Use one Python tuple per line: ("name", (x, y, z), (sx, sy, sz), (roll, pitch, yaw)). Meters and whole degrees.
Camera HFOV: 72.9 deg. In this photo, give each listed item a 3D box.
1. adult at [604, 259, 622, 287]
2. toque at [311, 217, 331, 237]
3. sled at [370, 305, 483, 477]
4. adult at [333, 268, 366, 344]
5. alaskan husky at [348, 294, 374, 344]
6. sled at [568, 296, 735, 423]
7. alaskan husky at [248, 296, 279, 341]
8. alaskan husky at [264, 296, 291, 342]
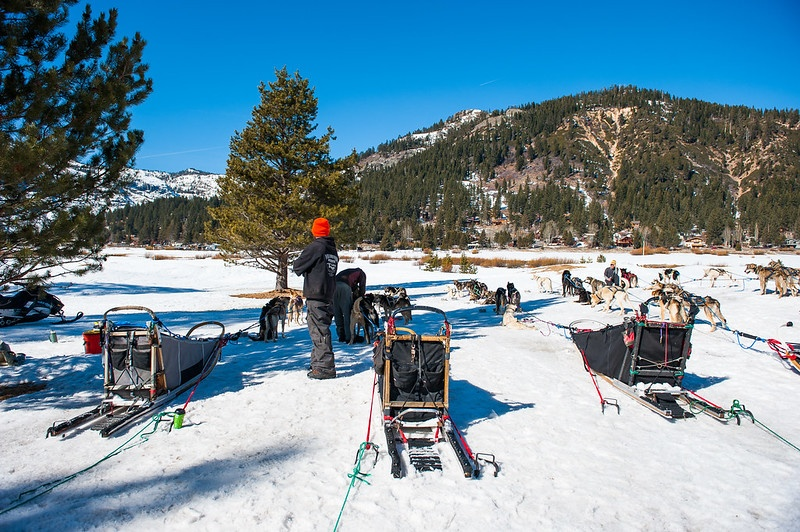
("adult", (9.116, 0.321, 23.362), (0.520, 1.176, 3.886), (-2, 2, 20))
("toque", (-1.792, -0.910, 12.109), (0.323, 0.382, 0.457), (7, 25, -2))
("sled", (0.354, 2.301, 9.893), (1.770, 1.812, 1.240), (-3, 2, 7))
("adult", (-1.181, 1.060, 13.546), (0.524, 1.488, 2.492), (-5, 21, -11))
("alaskan husky", (-1.192, 1.418, 15.030), (0.477, 1.334, 2.051), (-5, 4, -5))
("sled", (5.671, 2.031, 12.915), (1.508, 1.840, 4.822), (9, -3, -4))
("alaskan husky", (-3.822, 1.538, 15.322), (0.651, 0.912, 0.652), (-2, 2, 22))
("alaskan husky", (-3.550, 1.476, 15.526), (0.388, 1.131, 1.665), (-2, 1, 7))
